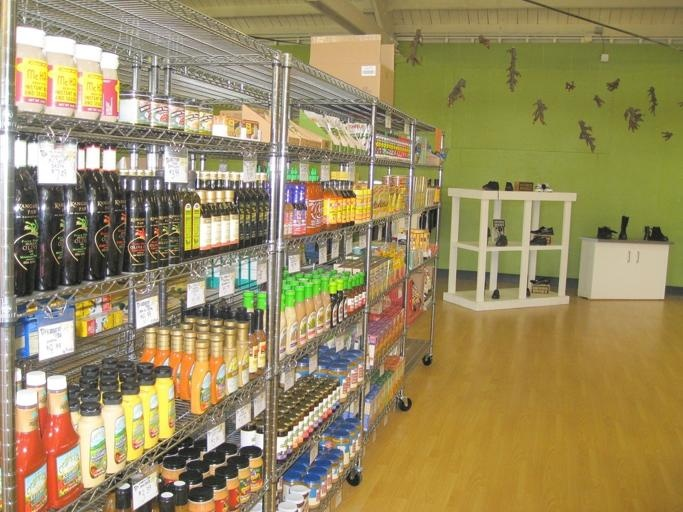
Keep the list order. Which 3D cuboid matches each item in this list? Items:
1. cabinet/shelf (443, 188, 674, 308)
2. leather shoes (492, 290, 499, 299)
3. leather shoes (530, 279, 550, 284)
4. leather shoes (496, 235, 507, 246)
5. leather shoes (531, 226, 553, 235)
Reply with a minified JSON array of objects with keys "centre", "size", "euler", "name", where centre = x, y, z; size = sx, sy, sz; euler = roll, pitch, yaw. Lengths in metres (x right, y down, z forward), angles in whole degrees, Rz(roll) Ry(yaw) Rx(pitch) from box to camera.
[{"centre":[2.860,-0.164,8.475],"size":[2.722,1.732,1.299],"euler":[-4,11,-31],"name":"cabinet/shelf"},{"centre":[2.314,0.587,7.981],"size":[0.113,0.123,0.115],"euler":[9,19,34],"name":"leather shoes"},{"centre":[3.120,0.421,8.428],"size":[0.176,0.061,0.117],"euler":[-2,7,-23],"name":"leather shoes"},{"centre":[2.366,-0.192,7.919],"size":[0.130,0.164,0.060],"euler":[1,-17,2],"name":"leather shoes"},{"centre":[3.121,-0.377,8.346],"size":[0.421,0.151,0.156],"euler":[4,12,31],"name":"leather shoes"}]
